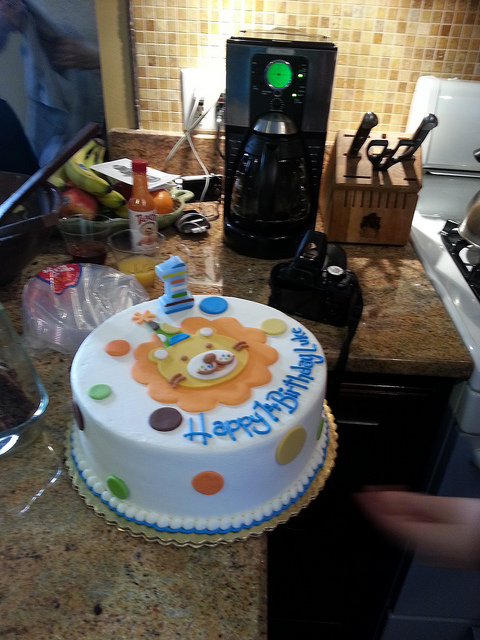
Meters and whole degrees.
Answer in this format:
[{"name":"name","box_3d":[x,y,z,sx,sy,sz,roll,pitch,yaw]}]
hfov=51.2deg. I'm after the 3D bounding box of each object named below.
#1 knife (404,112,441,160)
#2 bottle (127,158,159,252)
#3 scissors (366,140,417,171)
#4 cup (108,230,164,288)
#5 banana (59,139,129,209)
[{"name":"knife","box_3d":[0.411,-0.415,1.142,0.044,0.120,0.133,15,36,13]},{"name":"bottle","box_3d":[-0.207,-0.246,1.106,0.081,0.193,0.092,-16,44,-26]},{"name":"scissors","box_3d":[0.349,-0.395,1.188,0.126,0.076,0.094,0,32,3]},{"name":"cup","box_3d":[-0.201,-0.140,1.088,0.129,0.108,0.136,-1,36,0]},{"name":"banana","box_3d":[-0.379,-0.390,1.223,0.085,0.092,0.235,30,33,-48]}]
